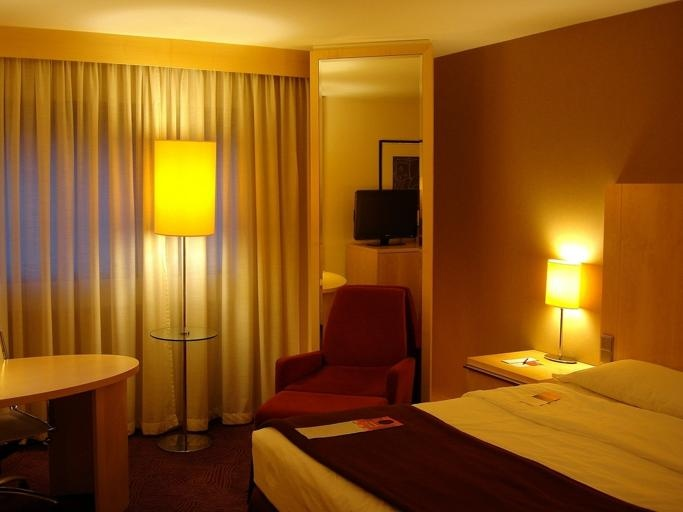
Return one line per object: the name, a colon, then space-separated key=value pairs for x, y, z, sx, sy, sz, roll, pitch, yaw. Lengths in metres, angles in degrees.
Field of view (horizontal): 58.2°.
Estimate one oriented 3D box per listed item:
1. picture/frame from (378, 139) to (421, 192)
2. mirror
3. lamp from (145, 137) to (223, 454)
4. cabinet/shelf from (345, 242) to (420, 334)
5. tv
picture/frame: x=0.476 y=-0.734 z=4.908 sx=0.392 sy=0.475 sz=0.021 roll=1 pitch=8 yaw=6
mirror: x=0.228 y=-0.203 z=4.880 sx=1.001 sy=3.038 sz=0.152 roll=0 pitch=-1 yaw=8
lamp: x=-1.209 y=0.297 z=4.778 sx=0.561 sy=2.341 sz=0.839 roll=-3 pitch=13 yaw=-5
cabinet/shelf: x=0.349 y=0.259 z=4.841 sx=0.655 sy=0.700 sz=0.369 roll=0 pitch=-2 yaw=-15
tv: x=0.384 y=-0.320 z=4.949 sx=0.428 sy=0.384 sz=0.105 roll=0 pitch=-5 yaw=18
